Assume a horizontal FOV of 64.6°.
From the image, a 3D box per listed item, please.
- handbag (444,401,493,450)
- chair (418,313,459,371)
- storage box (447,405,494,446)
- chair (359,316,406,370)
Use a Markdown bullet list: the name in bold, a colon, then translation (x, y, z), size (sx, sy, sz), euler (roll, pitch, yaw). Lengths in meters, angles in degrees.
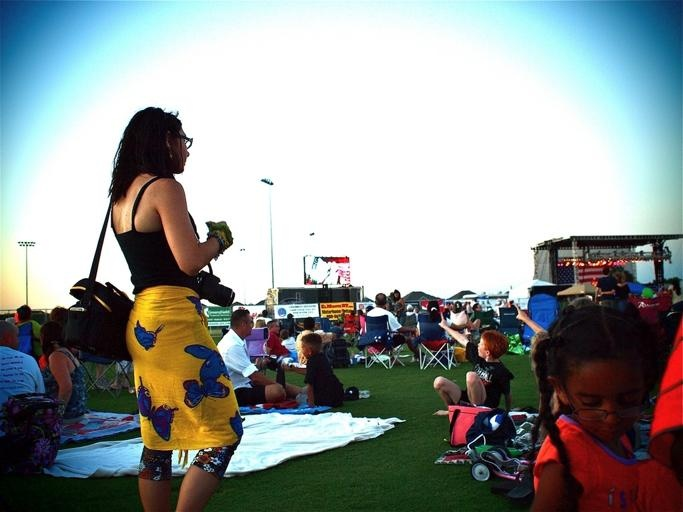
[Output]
- **handbag**: translation (1.163, 1.538, 4.945), size (0.525, 0.439, 0.350), euler (-3, -19, 12)
- **chair**: translation (2.198, 1.991, 12.504), size (0.921, 1.684, 1.076), euler (-1, -1, 18)
- **storage box**: translation (1.177, 1.521, 4.936), size (0.522, 0.435, 0.350), euler (-4, -19, 13)
- **chair**: translation (1.007, 2.022, 12.941), size (0.982, 1.557, 1.236), euler (-2, -3, 26)
